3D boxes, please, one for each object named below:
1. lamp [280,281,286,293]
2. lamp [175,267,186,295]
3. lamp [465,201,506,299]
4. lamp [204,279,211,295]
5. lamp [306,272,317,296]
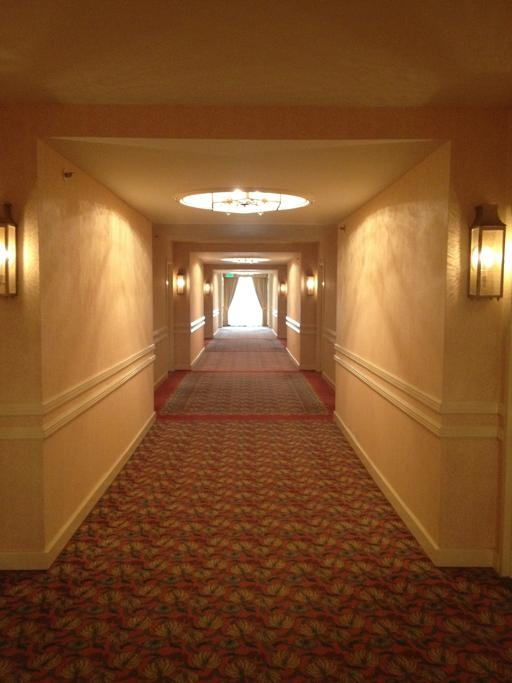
[{"bbox_3d":[1.023,-1.976,16.819,0.203,0.407,0.286,0,3,-6],"label":"lamp"},{"bbox_3d":[-1.653,-1.350,10.368,0.252,0.574,0.144,0,3,-12],"label":"lamp"},{"bbox_3d":[1.351,-0.526,2.695,0.185,0.541,0.151,0,3,3],"label":"lamp"},{"bbox_3d":[-1.708,-1.969,16.711,0.307,0.634,0.326,-1,2,-9],"label":"lamp"},{"bbox_3d":[1.224,-1.301,10.259,0.256,0.530,0.201,1,3,15],"label":"lamp"}]
